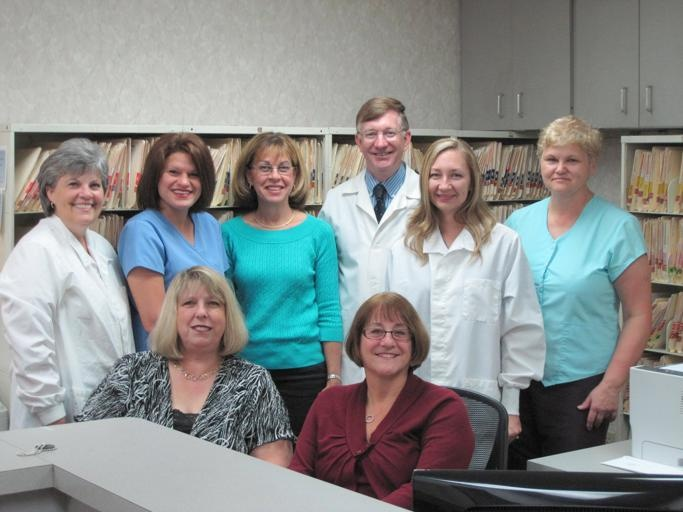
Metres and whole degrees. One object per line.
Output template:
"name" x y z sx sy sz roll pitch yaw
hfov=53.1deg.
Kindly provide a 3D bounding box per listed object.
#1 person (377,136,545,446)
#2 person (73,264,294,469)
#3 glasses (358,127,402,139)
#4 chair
"person" 0.491 0.328 2.760 0.673 1.446 0.323 0 8 28
"person" -0.491 0.428 2.353 0.809 0.774 0.419 6 3 19
"glasses" 0.173 -0.514 2.905 0.170 0.049 0.055 -3 8 0
"chair" 0.460 0.542 2.137 0.210 0.296 0.220 -5 -5 14
